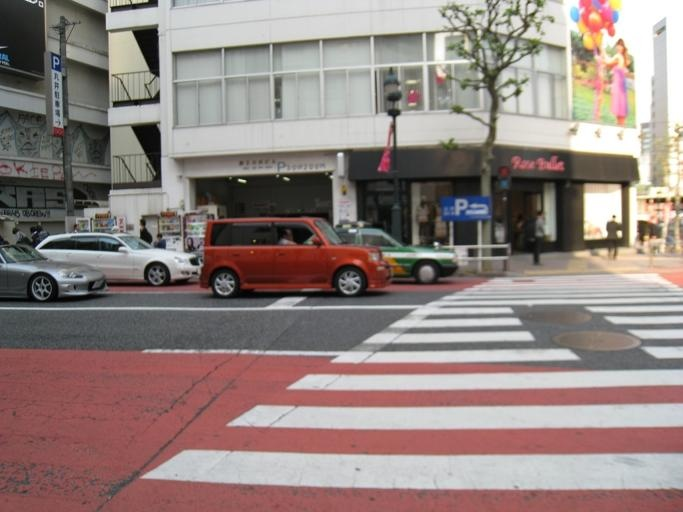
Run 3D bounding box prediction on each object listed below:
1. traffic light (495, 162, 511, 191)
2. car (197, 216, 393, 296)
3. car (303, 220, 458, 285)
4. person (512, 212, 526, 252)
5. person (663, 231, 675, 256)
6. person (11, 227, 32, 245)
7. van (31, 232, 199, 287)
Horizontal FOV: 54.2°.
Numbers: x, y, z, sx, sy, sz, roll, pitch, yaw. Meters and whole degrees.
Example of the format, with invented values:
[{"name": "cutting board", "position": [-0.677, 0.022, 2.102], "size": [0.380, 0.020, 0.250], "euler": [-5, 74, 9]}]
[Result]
[{"name": "traffic light", "position": [5.315, -2.508, 21.738], "size": [0.337, 0.887, 1.230], "euler": [2, 13, 11]}, {"name": "car", "position": [-1.174, 0.011, 16.807], "size": [4.090, 1.937, 2.101], "euler": [-2, -1, 5]}, {"name": "car", "position": [1.503, -0.147, 18.900], "size": [3.241, 1.268, 1.542], "euler": [0, 2, 0]}, {"name": "person", "position": [7.756, -1.047, 29.142], "size": [0.576, 1.746, 0.449], "euler": [3, 12, 17]}, {"name": "person", "position": [14.633, -0.656, 29.669], "size": [0.388, 0.914, 0.952], "euler": [5, 13, 24]}, {"name": "person", "position": [-13.875, -0.890, 28.902], "size": [0.345, 0.314, 1.116], "euler": [23, 4, -15]}, {"name": "van", "position": [-6.548, 0.032, 19.842], "size": [4.131, 1.464, 1.999], "euler": [0, 0, -5]}]
